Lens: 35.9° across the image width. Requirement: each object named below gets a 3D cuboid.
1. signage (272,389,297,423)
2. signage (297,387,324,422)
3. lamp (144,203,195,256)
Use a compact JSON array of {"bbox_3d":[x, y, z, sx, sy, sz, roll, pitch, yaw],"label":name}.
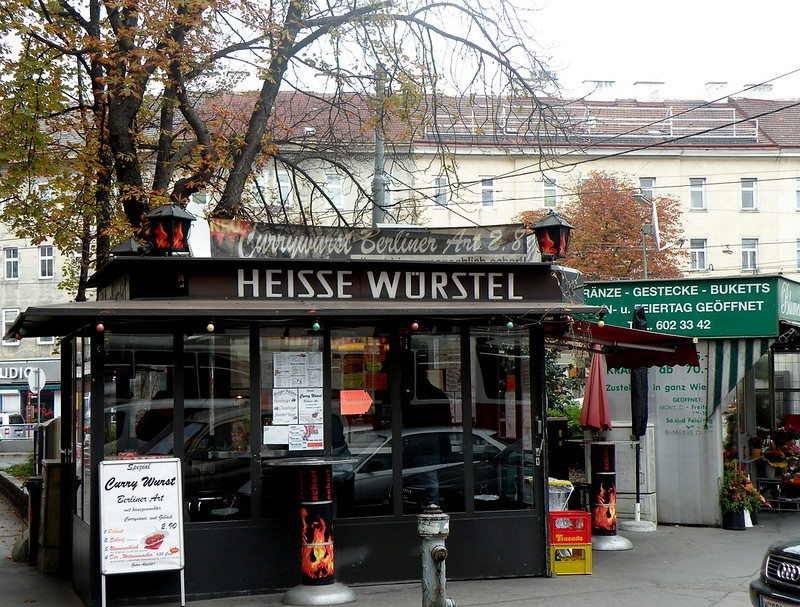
[{"bbox_3d":[-1.652,1.468,17.521,0.488,0.603,0.046,3,-7,-11],"label":"signage"},{"bbox_3d":[-1.285,1.451,17.580,0.541,0.646,0.072,1,-7,-11],"label":"signage"},{"bbox_3d":[-3.317,-1.080,17.650,0.671,0.636,0.611,-1,-4,7],"label":"lamp"}]
